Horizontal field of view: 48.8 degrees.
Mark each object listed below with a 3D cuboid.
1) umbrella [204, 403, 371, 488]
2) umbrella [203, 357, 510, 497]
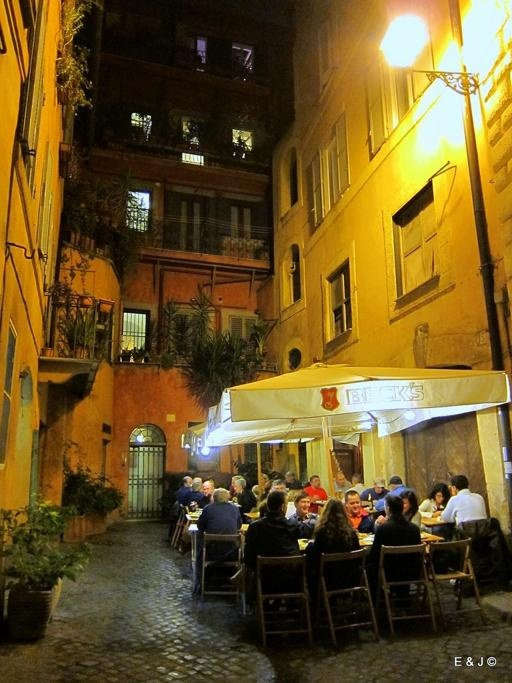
[{"bbox_3d":[0.601,1.373,8.609,2.218,1.464,2.349,-14,-16,37],"label":"umbrella"},{"bbox_3d":[0.989,0.654,5.608,2.321,0.804,2.380,-3,-2,9],"label":"umbrella"}]
